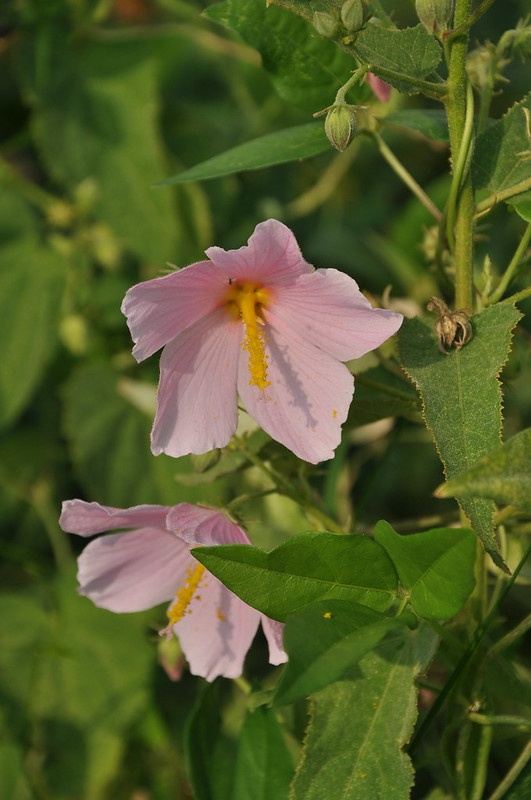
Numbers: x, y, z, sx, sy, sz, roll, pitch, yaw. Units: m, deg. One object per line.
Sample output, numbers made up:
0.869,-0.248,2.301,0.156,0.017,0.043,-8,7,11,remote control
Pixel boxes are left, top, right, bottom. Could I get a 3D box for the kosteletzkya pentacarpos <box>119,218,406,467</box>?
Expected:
0.019,-0.052,0.671,0.133,0.206,0.196,-3,71,-42,kosteletzkya pentacarpos
